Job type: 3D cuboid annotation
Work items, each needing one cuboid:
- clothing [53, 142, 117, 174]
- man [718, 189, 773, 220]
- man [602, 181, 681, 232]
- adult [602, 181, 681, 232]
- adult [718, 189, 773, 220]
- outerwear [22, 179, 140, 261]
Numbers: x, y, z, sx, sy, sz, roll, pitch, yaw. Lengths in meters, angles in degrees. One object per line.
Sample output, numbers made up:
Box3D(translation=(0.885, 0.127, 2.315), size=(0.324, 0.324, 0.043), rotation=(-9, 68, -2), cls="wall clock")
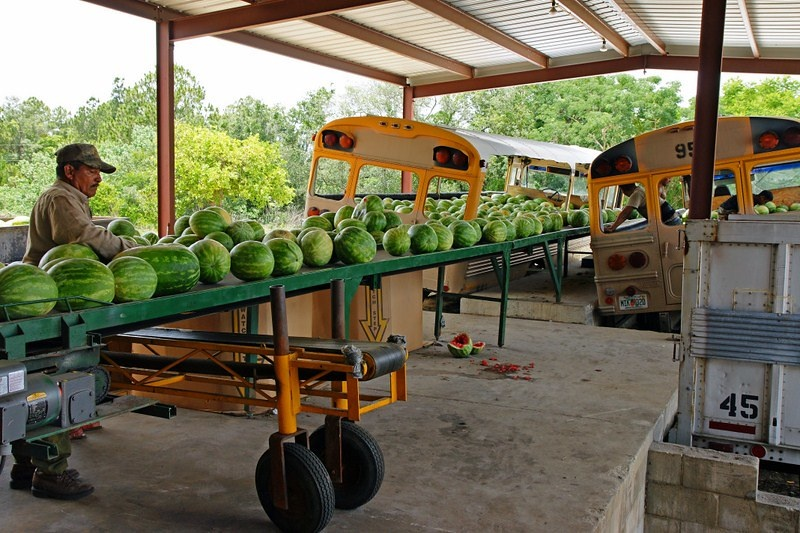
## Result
Box3D(translation=(-2.576, -0.891, 4.665), size=(0.438, 0.208, 0.264), rotation=(-4, 8, -16), cls="clothing")
Box3D(translation=(5.280, -0.996, 8.582), size=(0.714, 0.324, 0.699), rotation=(6, 11, 25), cls="man")
Box3D(translation=(3.832, -0.996, 8.942), size=(1.409, 0.595, 0.785), rotation=(-23, 22, -38), cls="man")
Box3D(translation=(3.989, -1.099, 9.042), size=(0.902, 0.658, 1.663), rotation=(1, 26, 37), cls="adult")
Box3D(translation=(5.280, -0.996, 8.582), size=(0.714, 0.324, 0.699), rotation=(6, 11, 25), cls="adult")
Box3D(translation=(-2.483, -0.329, 4.356), size=(0.641, 0.581, 0.976), rotation=(3, 4, -30), cls="outerwear")
